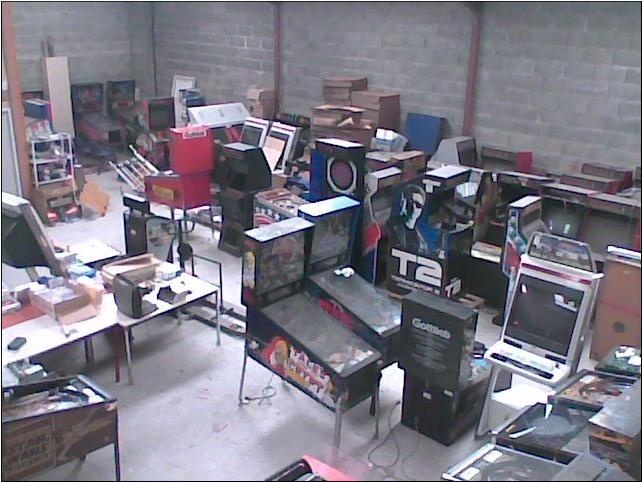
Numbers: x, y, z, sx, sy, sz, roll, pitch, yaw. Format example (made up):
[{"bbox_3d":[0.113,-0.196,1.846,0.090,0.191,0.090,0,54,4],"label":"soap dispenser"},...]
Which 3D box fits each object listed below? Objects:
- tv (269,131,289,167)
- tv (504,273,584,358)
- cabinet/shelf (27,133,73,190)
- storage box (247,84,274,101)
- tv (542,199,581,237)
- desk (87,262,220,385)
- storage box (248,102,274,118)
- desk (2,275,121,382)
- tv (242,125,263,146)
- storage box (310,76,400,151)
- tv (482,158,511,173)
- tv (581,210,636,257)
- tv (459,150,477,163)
[{"bbox_3d":[-0.781,-1.523,8.577,0.122,0.499,0.510,2,26,-34],"label":"tv"},{"bbox_3d":[1.770,0.590,4.063,0.506,0.588,0.321,18,7,32],"label":"tv"},{"bbox_3d":[-4.125,-1.214,7.832,0.251,0.726,0.648,20,33,30],"label":"cabinet/shelf"},{"bbox_3d":[-1.099,-2.772,9.749,0.448,0.229,0.453,18,22,36],"label":"storage box"},{"bbox_3d":[2.754,-0.271,5.898,0.418,0.410,0.101,23,18,34],"label":"tv"},{"bbox_3d":[-1.690,0.499,5.227,1.152,1.058,1.053,-22,36,-40],"label":"desk"},{"bbox_3d":[-1.126,-2.452,9.692,0.308,0.324,0.328,15,11,1],"label":"storage box"},{"bbox_3d":[-2.288,0.748,4.569,0.760,0.522,0.995,-22,52,-29],"label":"desk"},{"bbox_3d":[-1.212,-1.846,9.015,0.437,0.415,0.107,17,6,27],"label":"tv"},{"bbox_3d":[0.593,-1.989,8.084,1.309,1.324,0.975,24,38,35],"label":"storage box"},{"bbox_3d":[2.556,-1.127,7.578,0.455,0.146,0.137,10,24,21],"label":"tv"},{"bbox_3d":[3.063,-0.098,5.548,0.490,0.471,0.280,12,25,26],"label":"tv"},{"bbox_3d":[2.142,-1.231,7.592,0.244,0.231,0.067,-9,-2,-36],"label":"tv"}]
